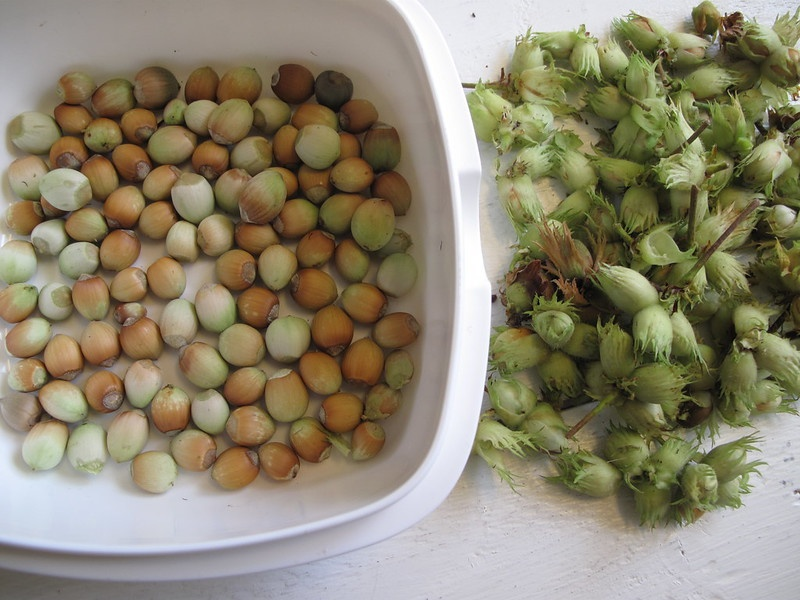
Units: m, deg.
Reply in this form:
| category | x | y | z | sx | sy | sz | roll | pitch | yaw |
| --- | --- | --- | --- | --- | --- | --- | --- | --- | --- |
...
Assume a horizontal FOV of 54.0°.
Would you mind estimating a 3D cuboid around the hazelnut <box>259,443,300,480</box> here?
| category | x | y | z | sx | sy | sz | roll | pitch | yaw |
| --- | --- | --- | --- | --- | --- | --- | --- | --- | --- |
| hazelnut | -0.188 | 0.251 | 1.219 | 0.063 | 0.039 | 0.048 | 44 | 83 | 9 |

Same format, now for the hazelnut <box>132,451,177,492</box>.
| category | x | y | z | sx | sy | sz | roll | pitch | yaw |
| --- | --- | --- | --- | --- | --- | --- | --- | --- | --- |
| hazelnut | -0.383 | 0.266 | 1.212 | 0.067 | 0.052 | 0.055 | 24 | 22 | -25 |

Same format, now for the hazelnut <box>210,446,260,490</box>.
| category | x | y | z | sx | sy | sz | roll | pitch | yaw |
| --- | --- | --- | --- | --- | --- | --- | --- | --- | --- |
| hazelnut | -0.252 | 0.263 | 1.242 | 0.083 | 0.071 | 0.050 | -24 | 69 | 32 |
